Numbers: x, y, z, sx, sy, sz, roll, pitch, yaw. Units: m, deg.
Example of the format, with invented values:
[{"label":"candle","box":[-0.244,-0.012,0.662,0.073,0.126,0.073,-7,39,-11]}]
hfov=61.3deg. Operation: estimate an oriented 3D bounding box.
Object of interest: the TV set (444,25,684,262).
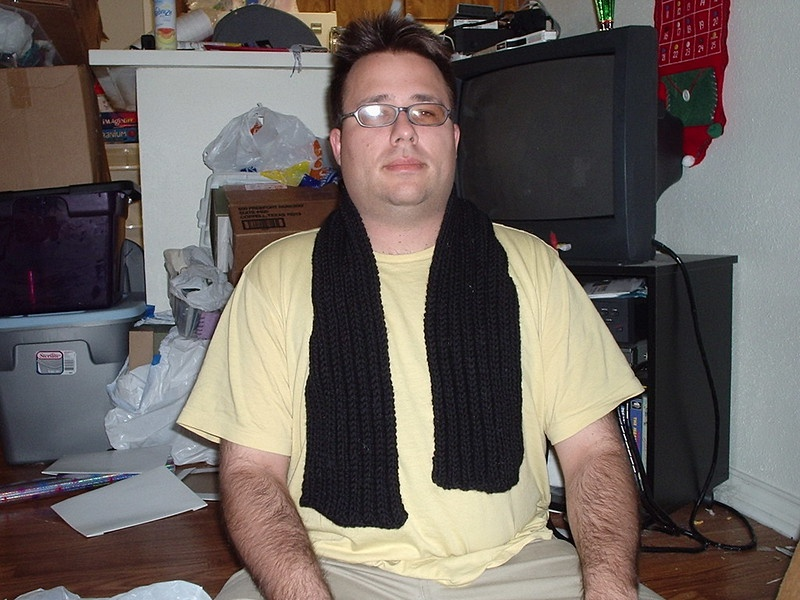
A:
[{"label":"TV set","box":[0.589,-0.491,2.257,0.509,0.670,0.709,-11,14,-38]}]

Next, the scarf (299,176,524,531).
[{"label":"scarf","box":[0.028,0.094,1.475,0.516,0.786,0.054,12,-16,-12]}]

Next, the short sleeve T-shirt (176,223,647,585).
[{"label":"short sleeve T-shirt","box":[0.012,0.210,1.704,1.258,0.943,0.621,-1,0,0]}]
